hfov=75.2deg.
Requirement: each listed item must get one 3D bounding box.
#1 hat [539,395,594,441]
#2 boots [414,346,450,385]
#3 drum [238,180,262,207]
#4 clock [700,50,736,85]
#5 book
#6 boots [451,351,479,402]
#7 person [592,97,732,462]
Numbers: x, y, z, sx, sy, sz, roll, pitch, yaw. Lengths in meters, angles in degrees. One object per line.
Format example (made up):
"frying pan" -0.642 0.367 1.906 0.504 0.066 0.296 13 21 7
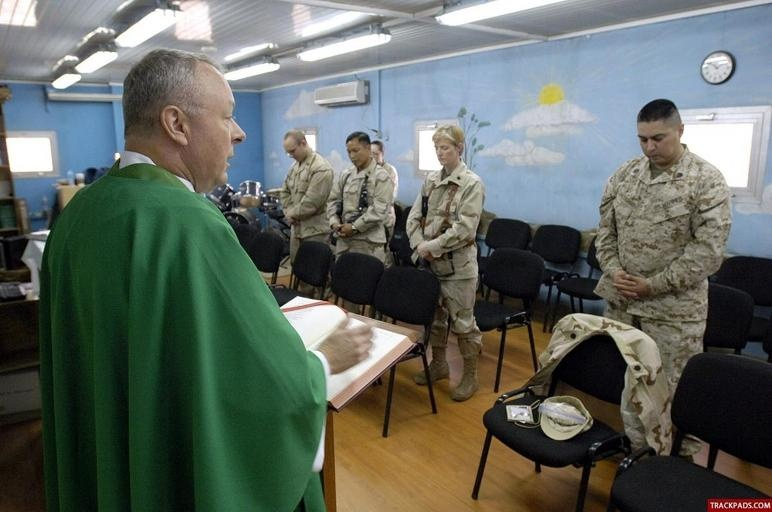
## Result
"hat" 0.931 0.865 2.696 0.253 0.143 0.254 -7 13 -33
"boots" 0.359 0.859 4.025 0.298 0.296 0.133 -10 19 -18
"drum" -2.319 -1.079 8.522 0.472 0.351 0.427 -3 7 -30
"clock" 2.850 -1.628 4.282 0.060 0.356 0.308 -5 9 -34
"book" -0.058 0.379 1.837 0.435 0.060 0.415 10 18 37
"boots" 0.602 0.916 3.818 0.152 0.342 0.351 7 14 34
"person" 1.637 -0.063 3.046 0.711 1.717 0.359 8 14 33
